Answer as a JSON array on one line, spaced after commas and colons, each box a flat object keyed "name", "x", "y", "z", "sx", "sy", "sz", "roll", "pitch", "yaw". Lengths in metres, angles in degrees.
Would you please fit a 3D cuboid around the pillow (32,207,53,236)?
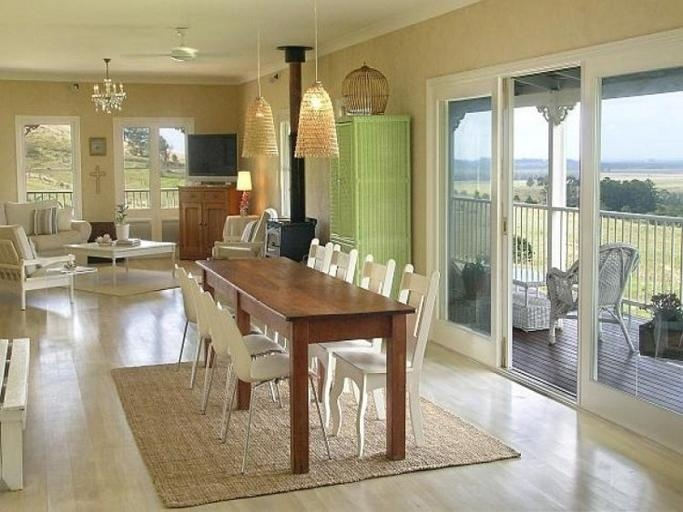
[{"name": "pillow", "x": -5.574, "y": -0.634, "z": 9.718, "sx": 0.458, "sy": 0.584, "sz": 0.212, "roll": 0, "pitch": -3, "yaw": -20}]

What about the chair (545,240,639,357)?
[{"name": "chair", "x": 2.260, "y": 0.243, "z": 4.359, "sx": 0.633, "sy": 0.992, "sz": 0.716, "roll": -5, "pitch": 9, "yaw": -26}]

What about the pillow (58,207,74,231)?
[{"name": "pillow", "x": -5.310, "y": -0.712, "z": 10.025, "sx": 0.162, "sy": 0.496, "sz": 0.439, "roll": 8, "pitch": 7, "yaw": 40}]

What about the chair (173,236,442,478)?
[{"name": "chair", "x": -0.278, "y": 0.723, "z": 3.935, "sx": 0.878, "sy": 1.020, "sz": 1.890, "roll": -5, "pitch": 10, "yaw": -28}]

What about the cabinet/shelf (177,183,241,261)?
[{"name": "cabinet/shelf", "x": -2.651, "y": -0.715, "z": 10.540, "sx": 1.496, "sy": 2.093, "sz": 0.820, "roll": 1, "pitch": 2, "yaw": 20}]

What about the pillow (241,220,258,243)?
[{"name": "pillow", "x": -1.471, "y": -0.437, "z": 8.707, "sx": 0.105, "sy": 0.427, "sz": 0.285, "roll": 17, "pitch": -9, "yaw": -19}]

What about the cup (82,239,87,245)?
[{"name": "cup", "x": -4.932, "y": -0.273, "z": 9.984, "sx": 0.045, "sy": 0.037, "sz": 0.158, "roll": 17, "pitch": 38, "yaw": 13}]

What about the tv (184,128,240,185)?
[{"name": "tv", "x": -2.801, "y": -2.151, "z": 11.298, "sx": 1.285, "sy": 1.223, "sz": 0.191, "roll": 1, "pitch": 18, "yaw": 1}]
